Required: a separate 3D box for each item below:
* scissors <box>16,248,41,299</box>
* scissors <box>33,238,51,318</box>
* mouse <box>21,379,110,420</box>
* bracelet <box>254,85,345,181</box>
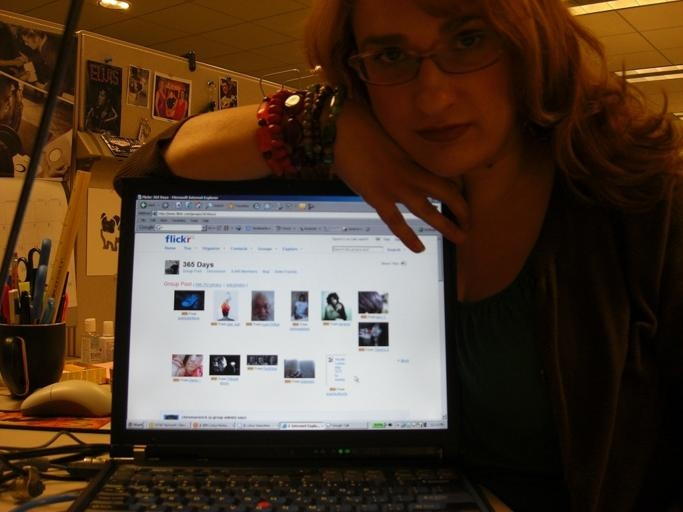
[{"bbox_3d":[-0.642,0.040,1.337,0.080,0.118,0.013,-13,-17,40],"label":"scissors"},{"bbox_3d":[-0.603,0.052,1.311,0.021,0.164,0.022,6,-1,24],"label":"scissors"},{"bbox_3d":[-0.507,0.268,1.196,0.132,0.054,0.082,2,-5,2],"label":"mouse"},{"bbox_3d":[-0.070,-0.197,1.036,0.115,0.160,0.057,-1,-1,7],"label":"bracelet"}]
